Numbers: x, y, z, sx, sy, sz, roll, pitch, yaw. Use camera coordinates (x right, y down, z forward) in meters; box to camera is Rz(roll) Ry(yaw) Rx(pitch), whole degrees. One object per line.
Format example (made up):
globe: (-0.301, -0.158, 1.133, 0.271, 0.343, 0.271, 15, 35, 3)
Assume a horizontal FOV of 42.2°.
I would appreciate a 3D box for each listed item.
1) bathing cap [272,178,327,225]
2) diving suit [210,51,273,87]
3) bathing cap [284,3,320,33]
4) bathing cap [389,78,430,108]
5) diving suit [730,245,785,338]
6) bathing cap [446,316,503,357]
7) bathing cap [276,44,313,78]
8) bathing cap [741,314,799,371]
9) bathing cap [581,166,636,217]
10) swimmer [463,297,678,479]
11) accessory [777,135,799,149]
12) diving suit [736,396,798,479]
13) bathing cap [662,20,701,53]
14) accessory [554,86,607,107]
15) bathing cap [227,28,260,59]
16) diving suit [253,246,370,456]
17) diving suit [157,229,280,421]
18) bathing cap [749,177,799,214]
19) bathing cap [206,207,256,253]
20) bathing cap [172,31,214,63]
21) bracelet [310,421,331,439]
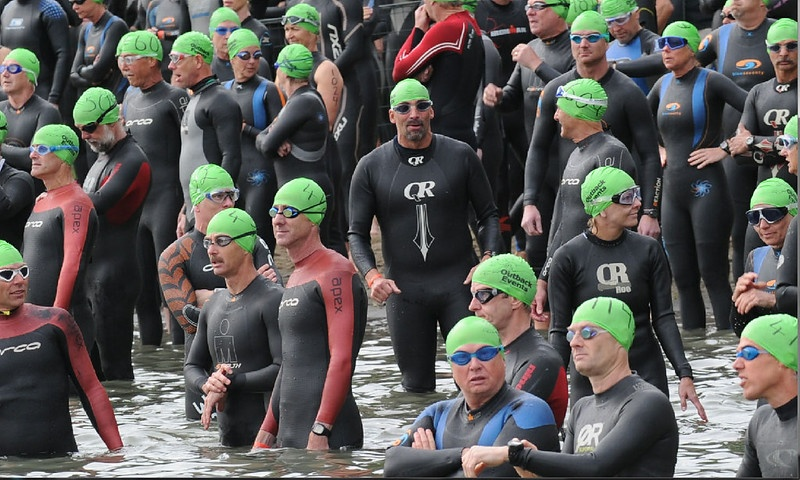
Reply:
bathing cap: (-0.880, -0.345, 9.354, 0.428, 0.447, 0.575, 13, 4, 24)
diving suit: (-1.978, -2.090, 12.842, 0.838, 0.612, 0.262, -2, 7, 4)
bathing cap: (-1.157, -2.598, 12.293, 0.407, 0.381, 0.288, -7, 8, -8)
bathing cap: (0.098, -1.440, 10.258, 0.372, 0.274, 0.249, -3, 8, 16)
diving suit: (3.403, 0.462, 9.794, 0.567, 0.731, 0.330, 13, 1, 40)
bathing cap: (0.539, 0.721, 7.871, 0.345, 0.243, 0.317, -6, -9, 4)
bathing cap: (-1.177, -1.965, 11.537, 0.483, 0.352, 0.348, -3, 20, -5)
bathing cap: (2.848, 0.753, 7.837, 0.457, 0.360, 0.336, 11, 12, 14)
bathing cap: (1.862, -0.423, 9.409, 0.535, 0.415, 0.374, 0, -15, 8)
swimmer: (1.580, 1.190, 7.833, 1.748, 1.557, 1.112, 9, -18, -21)
accessory: (3.757, -0.938, 10.023, 0.138, 0.140, 0.661, -3, 7, 16)
diving suit: (2.767, 1.493, 7.746, 0.316, 0.631, 0.483, -11, 9, -29)
bathing cap: (3.215, -2.291, 11.797, 0.303, 0.363, 0.438, 0, 10, 37)
accessory: (1.775, -1.358, 10.139, 0.331, 0.069, 0.229, 14, -8, -2)
bathing cap: (-1.873, -2.336, 12.402, 0.344, 0.348, 0.326, -7, 8, -10)
diving suit: (-0.745, 0.989, 9.024, 1.014, 1.769, 0.513, -7, 8, -3)
diving suit: (-1.837, 0.945, 10.731, 1.294, 2.170, 0.672, 1, 20, -8)
bathing cap: (3.558, -0.428, 9.800, 0.326, 0.396, 0.242, -7, 22, 33)
bathing cap: (-1.498, -0.074, 9.492, 0.458, 0.365, 0.359, -23, 12, -27)
bathing cap: (-2.395, -2.225, 12.036, 0.469, 0.367, 0.330, -7, 20, -40)
bracelet: (-0.665, 1.623, 8.919, 0.165, 0.100, 0.158, 20, -6, -35)
